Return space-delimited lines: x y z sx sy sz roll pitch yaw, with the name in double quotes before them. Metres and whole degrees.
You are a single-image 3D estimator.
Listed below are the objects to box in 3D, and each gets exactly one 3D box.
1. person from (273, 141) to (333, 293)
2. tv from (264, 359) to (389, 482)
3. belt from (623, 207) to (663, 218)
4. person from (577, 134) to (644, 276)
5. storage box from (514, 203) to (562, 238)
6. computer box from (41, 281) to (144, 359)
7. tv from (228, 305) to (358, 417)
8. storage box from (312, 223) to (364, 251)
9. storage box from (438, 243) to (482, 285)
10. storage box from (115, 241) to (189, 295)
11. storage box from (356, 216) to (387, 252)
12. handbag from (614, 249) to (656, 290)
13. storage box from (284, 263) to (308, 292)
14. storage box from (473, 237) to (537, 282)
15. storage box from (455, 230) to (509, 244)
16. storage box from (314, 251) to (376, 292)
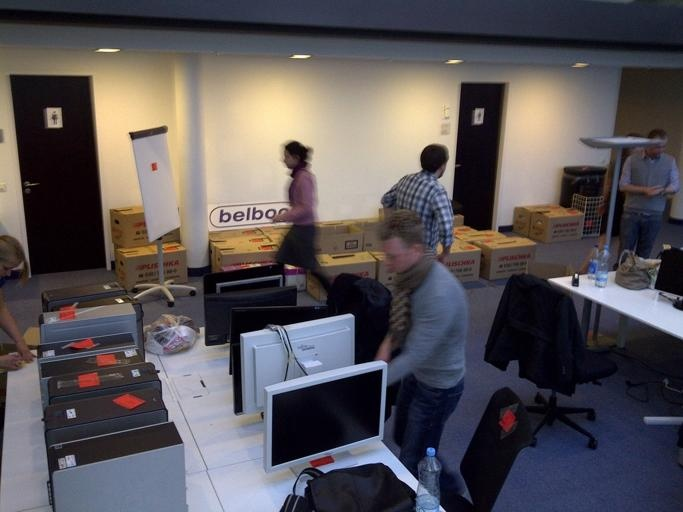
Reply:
"person" -0.376 -0.334 4.964 0.502 1.462 0.587 -2 15 -2
"tv" -0.066 0.634 2.017 0.421 0.300 0.043 -10 25 -28
"belt" 2.925 -0.422 5.210 0.164 0.043 0.170 1 19 6
"person" 2.026 -0.516 4.109 0.401 0.780 0.387 -4 9 10
"storage box" 2.858 -0.576 7.753 0.729 0.545 0.411 -8 16 -16
"computer box" -1.380 0.246 2.921 0.435 0.345 0.440 -5 15 -22
"tv" -0.197 0.433 2.166 0.425 0.374 0.153 -6 25 -19
"storage box" -0.029 -0.198 6.178 0.364 0.166 0.372 -5 23 -9
"storage box" 1.469 0.191 6.178 0.486 0.359 0.499 -9 -20 40
"storage box" -2.221 0.153 5.939 0.822 0.491 0.857 -1 5 29
"storage box" 0.323 -0.352 6.303 0.355 0.239 0.375 -1 23 -1
"handbag" 2.332 0.117 4.159 0.209 0.340 0.329 1 6 -9
"storage box" -0.427 0.177 4.909 0.196 0.359 0.194 -4 42 -1
"storage box" 1.937 0.030 6.338 0.646 0.397 0.364 -6 13 -23
"storage box" 1.669 -0.240 6.451 0.309 0.085 0.303 -6 19 -14
"storage box" 0.047 0.079 5.582 0.471 0.338 0.263 -6 18 -15
